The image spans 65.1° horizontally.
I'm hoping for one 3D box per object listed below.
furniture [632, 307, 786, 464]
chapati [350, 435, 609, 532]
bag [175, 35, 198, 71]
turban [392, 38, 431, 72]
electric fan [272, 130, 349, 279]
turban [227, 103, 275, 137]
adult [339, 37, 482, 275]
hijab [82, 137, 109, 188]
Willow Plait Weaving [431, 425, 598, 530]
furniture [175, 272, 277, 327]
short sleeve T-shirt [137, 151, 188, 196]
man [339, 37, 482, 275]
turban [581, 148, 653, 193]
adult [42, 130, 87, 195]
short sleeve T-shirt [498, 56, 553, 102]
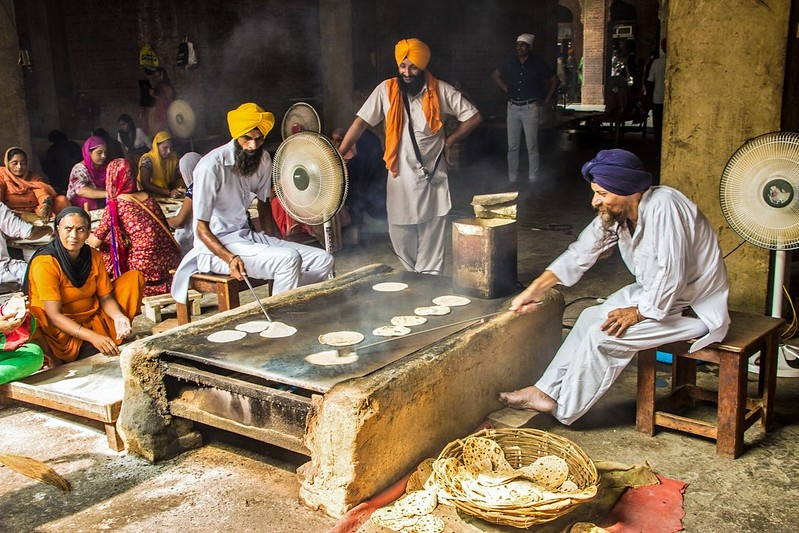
[{"bbox_3d":[2.163,0.716,4.574,1.077,0.893,1.076,3,10,39],"label":"furniture"},{"bbox_3d":[0.666,1.292,3.850,1.053,0.161,0.622,-5,22,37],"label":"chapati"},{"bbox_3d":[-4.071,-4.081,11.910,0.404,0.573,0.582,-4,16,-9],"label":"bag"},{"bbox_3d":[0.136,-2.021,5.950,0.291,0.286,0.314,0,16,4],"label":"turban"},{"bbox_3d":[-0.701,-0.680,4.814,0.717,0.701,0.183,12,22,38],"label":"electric fan"},{"bbox_3d":[-1.270,-1.248,5.317,0.324,0.208,0.347,-6,17,-15],"label":"turban"},{"bbox_3d":[0.161,-1.055,6.236,1.248,2.272,0.464,0,18,4],"label":"adult"},{"bbox_3d":[-4.022,-1.379,8.251,0.520,0.607,0.267,-4,20,-25],"label":"hijab"},{"bbox_3d":[0.699,1.211,3.586,0.680,0.170,0.610,-7,19,-16],"label":"Willow Plait Weaving"},{"bbox_3d":[-1.703,0.314,5.662,0.599,0.356,0.586,-18,16,-38],"label":"furniture"},{"bbox_3d":[-3.262,-1.241,8.581,0.725,0.710,0.715,6,17,-10],"label":"short sleeve T-shirt"},{"bbox_3d":[0.162,-1.055,6.239,1.242,2.272,0.475,0,18,5],"label":"man"},{"bbox_3d":[1.425,-0.620,4.068,0.424,0.238,0.302,1,16,18],"label":"turban"},{"bbox_3d":[-5.640,-1.765,10.459,0.655,1.080,0.537,-4,-16,-3],"label":"adult"},{"bbox_3d":[2.189,-3.254,10.879,0.882,0.844,0.449,4,18,18],"label":"short sleeve T-shirt"}]
